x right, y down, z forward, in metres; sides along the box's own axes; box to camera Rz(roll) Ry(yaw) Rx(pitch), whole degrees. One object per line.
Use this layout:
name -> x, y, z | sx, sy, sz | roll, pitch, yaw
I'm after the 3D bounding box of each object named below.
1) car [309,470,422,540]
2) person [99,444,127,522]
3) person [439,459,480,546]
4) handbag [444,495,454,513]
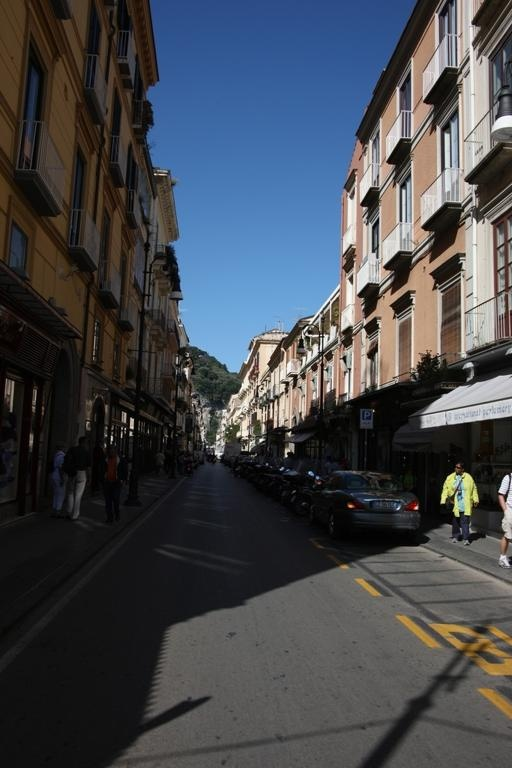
car -> 2.116, 2.548, 11.437 | 1.373, 1.417, 2.568 | 5, -9, -21
person -> -3.273, 2.272, 12.356 | 0.490, 1.701, 1.028 | 3, -7, -16
person -> 4.121, 2.403, 10.869 | 0.646, 1.613, 0.883 | -2, -7, 24
handbag -> 4.004, 2.444, 10.957 | 0.277, 0.381, 0.266 | 2, -8, 5
